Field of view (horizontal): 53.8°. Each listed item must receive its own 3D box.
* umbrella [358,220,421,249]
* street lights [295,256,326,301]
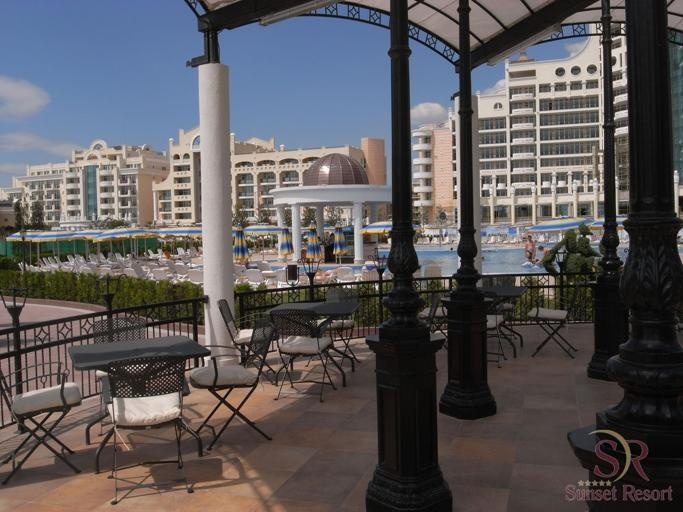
[{"bbox_3d":[1.493,-0.781,24.103,2.429,1.203,2.384,-5,5,-42],"label":"umbrella"},{"bbox_3d":[-0.871,0.588,19.063,0.850,1.777,0.871,1,7,11],"label":"street lights"}]
